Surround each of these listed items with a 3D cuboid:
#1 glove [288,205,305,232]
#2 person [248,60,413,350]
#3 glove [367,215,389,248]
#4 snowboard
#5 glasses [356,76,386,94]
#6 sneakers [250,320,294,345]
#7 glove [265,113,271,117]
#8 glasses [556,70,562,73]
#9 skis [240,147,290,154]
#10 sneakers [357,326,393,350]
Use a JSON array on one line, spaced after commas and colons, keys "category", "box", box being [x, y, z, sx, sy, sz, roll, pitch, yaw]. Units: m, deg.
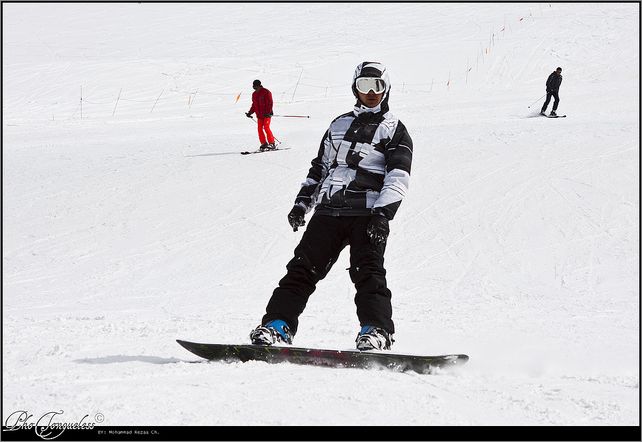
[{"category": "glove", "box": [-0.257, -0.036, 6.910, 0.235, 0.253, 0.110, 4, 2, 7]}, {"category": "person", "box": [0.243, -0.227, 6.588, 1.344, 2.963, 1.108, 4, 8, 7]}, {"category": "glove", "box": [0.593, 0.102, 6.515, 0.217, 0.322, 0.179, 3, 8, 3]}, {"category": "snowboard", "box": [-0.080, 1.356, 6.219, 2.556, 0.178, 0.337, 1, -32, 4]}, {"category": "glasses", "box": [0.550, -1.457, 6.720, 0.238, 0.099, 0.221, 1, 0, 1]}, {"category": "sneakers", "box": [-0.494, 1.134, 6.362, 0.385, 0.167, 0.225, -4, 8, -17]}, {"category": "glove", "box": [-1.183, -2.359, 13.999, 0.081, 0.085, 0.022, -1, 49, 2]}, {"category": "glasses", "box": [6.568, -4.140, 17.324, 0.156, 0.082, 0.116, 10, 7, 35]}, {"category": "skis", "box": [-1.230, -1.583, 14.145, 1.355, 0.155, 0.090, -5, -10, -13]}, {"category": "sneakers", "box": [0.512, 1.182, 6.282, 0.431, 0.169, 0.172, 4, -6, -44]}]
